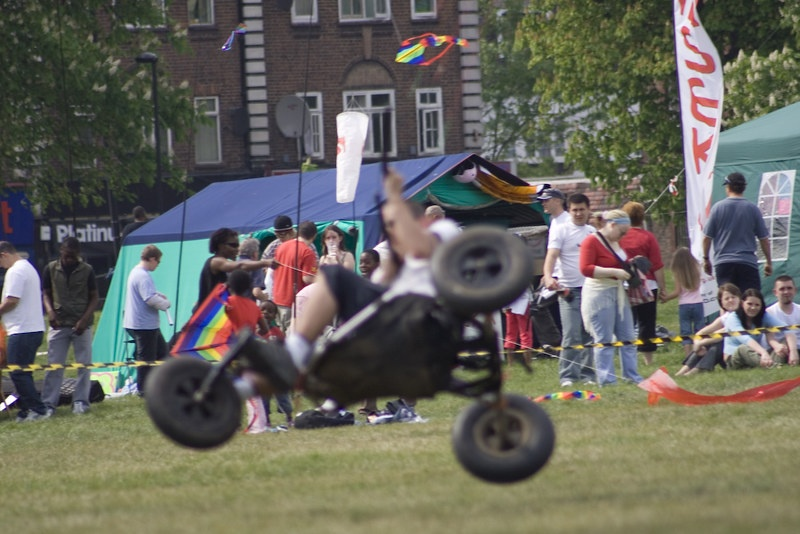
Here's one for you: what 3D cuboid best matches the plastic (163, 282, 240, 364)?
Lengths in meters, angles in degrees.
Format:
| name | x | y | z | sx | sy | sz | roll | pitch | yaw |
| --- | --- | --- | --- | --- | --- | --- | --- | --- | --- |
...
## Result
| name | x | y | z | sx | sy | sz | roll | pitch | yaw |
| --- | --- | --- | --- | --- | --- | --- | --- | --- | --- |
| plastic | -3.830 | 1.064 | 46.084 | 1.098 | 1.548 | 0.976 | 1 | -2 | -3 |

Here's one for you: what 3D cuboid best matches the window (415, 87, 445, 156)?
| name | x | y | z | sx | sy | sz | roll | pitch | yaw |
| --- | --- | --- | --- | --- | --- | --- | --- | --- | --- |
| window | 0.808 | -3.932 | 64.334 | 0.817 | 1.689 | 0.161 | 0 | 5 | 35 |

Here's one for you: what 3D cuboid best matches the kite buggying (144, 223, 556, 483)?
| name | x | y | z | sx | sy | sz | roll | pitch | yaw |
| --- | --- | --- | --- | --- | --- | --- | --- | --- | --- |
| kite buggying | -0.965 | 1.645 | 42.519 | 7.245 | 4.603 | 0.908 | -2 | -1 | 4 |

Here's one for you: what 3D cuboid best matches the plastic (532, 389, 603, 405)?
| name | x | y | z | sx | sy | sz | roll | pitch | yaw |
| --- | --- | --- | --- | --- | --- | --- | --- | --- | --- |
| plastic | 3.260 | 2.516 | 45.989 | 1.278 | 0.183 | 0.211 | -2 | -15 | 5 |

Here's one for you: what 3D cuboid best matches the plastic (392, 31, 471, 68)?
| name | x | y | z | sx | sy | sz | roll | pitch | yaw |
| --- | --- | --- | --- | --- | --- | --- | --- | --- | --- |
| plastic | 0.814 | -5.721 | 61.690 | 1.498 | 0.422 | 1.399 | -6 | -13 | -28 |
